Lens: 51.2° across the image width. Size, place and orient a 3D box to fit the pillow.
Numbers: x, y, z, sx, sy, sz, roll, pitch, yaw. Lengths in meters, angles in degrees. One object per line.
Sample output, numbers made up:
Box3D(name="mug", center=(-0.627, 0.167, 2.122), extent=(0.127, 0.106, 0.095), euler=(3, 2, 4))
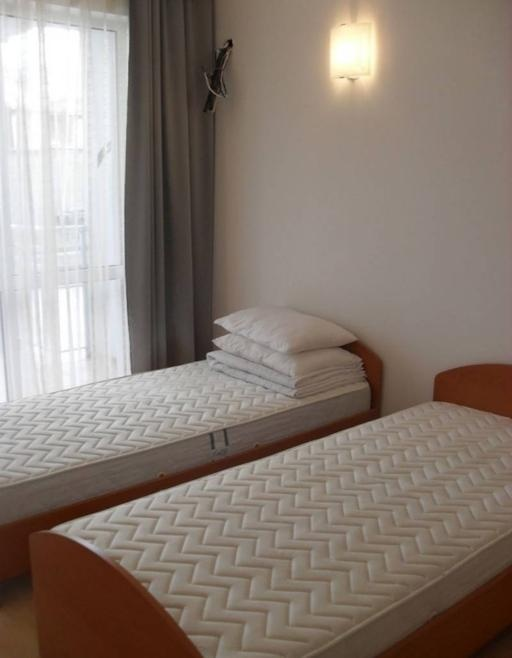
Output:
Box3D(name="pillow", center=(0.113, 0.043, 2.612), extent=(0.351, 0.184, 0.520), euler=(-12, 16, -32))
